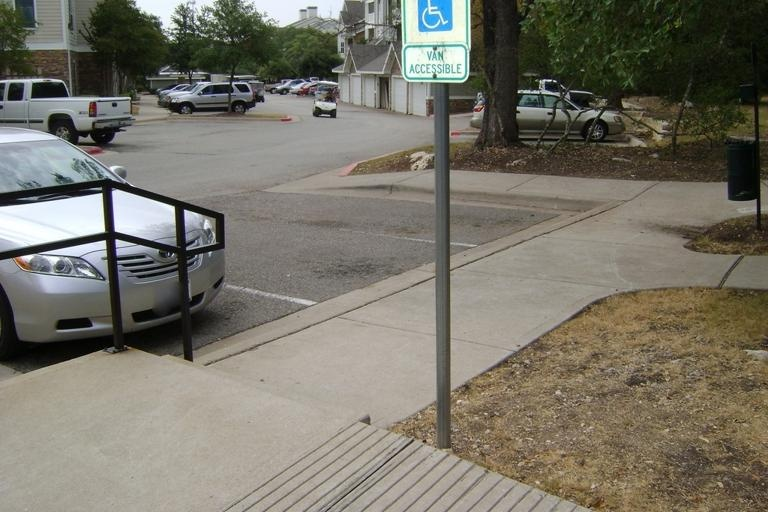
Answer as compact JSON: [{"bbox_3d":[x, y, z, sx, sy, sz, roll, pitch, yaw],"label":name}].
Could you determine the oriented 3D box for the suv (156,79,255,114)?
[{"bbox_3d":[-11.012,-10.122,44.439,5.118,1.921,2.360,-3,17,-14],"label":"suv"}]

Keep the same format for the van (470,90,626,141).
[{"bbox_3d":[5.813,-4.711,23.691,3.551,1.647,5.055,12,20,34],"label":"van"}]

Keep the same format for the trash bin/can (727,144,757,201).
[{"bbox_3d":[5.500,-1.286,10.709,0.516,0.956,0.557,9,18,26],"label":"trash bin/can"}]
